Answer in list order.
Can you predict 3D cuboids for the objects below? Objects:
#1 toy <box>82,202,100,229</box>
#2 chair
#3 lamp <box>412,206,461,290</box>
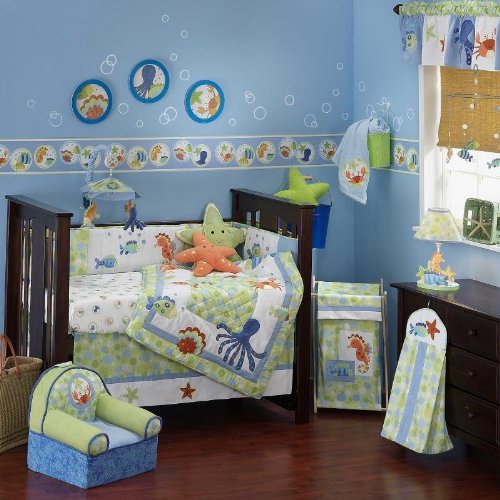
[{"bbox_3d":[-0.923,-0.200,3.069,0.044,0.155,0.062,3,-20,12],"label":"toy"},{"bbox_3d":[-0.647,0.703,2.194,0.395,0.422,0.422,1,-4,23],"label":"chair"},{"bbox_3d":[0.879,-0.002,2.510,0.205,0.398,0.201,9,20,38],"label":"lamp"}]
